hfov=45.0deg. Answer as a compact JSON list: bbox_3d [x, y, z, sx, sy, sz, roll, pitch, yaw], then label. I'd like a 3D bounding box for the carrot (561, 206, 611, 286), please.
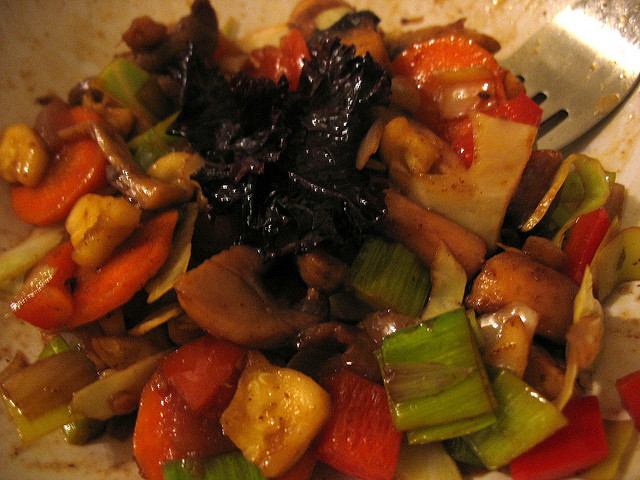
[{"bbox_3d":[0.992,0.007,2.922,0.110,0.155,0.290,30,64,10],"label":"carrot"}]
